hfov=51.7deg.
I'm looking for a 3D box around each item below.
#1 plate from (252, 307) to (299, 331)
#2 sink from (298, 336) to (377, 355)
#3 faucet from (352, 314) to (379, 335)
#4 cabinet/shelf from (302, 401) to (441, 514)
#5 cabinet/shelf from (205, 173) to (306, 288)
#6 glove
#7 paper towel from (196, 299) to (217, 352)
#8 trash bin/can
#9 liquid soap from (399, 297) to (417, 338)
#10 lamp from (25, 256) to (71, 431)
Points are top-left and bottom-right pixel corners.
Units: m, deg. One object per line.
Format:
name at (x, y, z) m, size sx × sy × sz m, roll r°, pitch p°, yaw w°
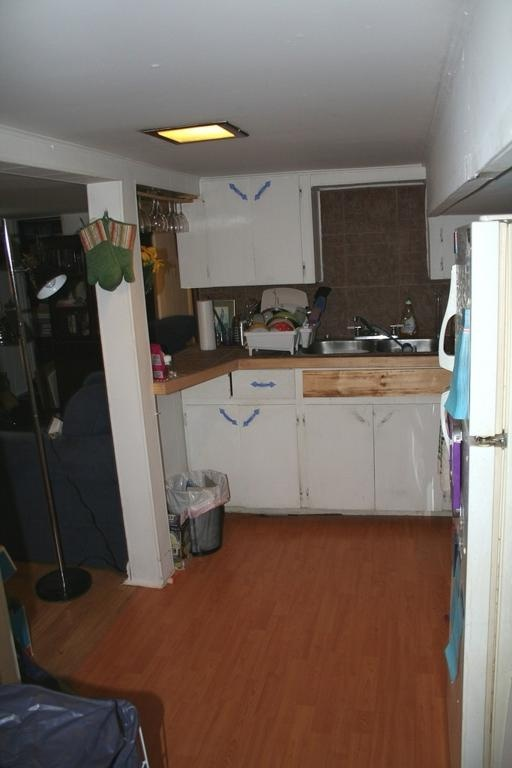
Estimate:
plate at (0.119, -0.447, 3.690) m, size 0.311 × 0.143 × 0.477 m, roll -6°, pitch 11°, yaw 3°
sink at (0.595, -0.269, 3.830) m, size 0.459 × 0.105 × 0.247 m, roll -4°, pitch 11°, yaw 17°
faucet at (0.776, -0.413, 3.787) m, size 0.170 × 0.150 × 0.310 m, roll -4°, pitch 11°, yaw 11°
cabinet/shelf at (0.747, 0.435, 3.331) m, size 0.615 × 0.622 × 0.217 m, roll 0°, pitch 5°, yaw 12°
cabinet/shelf at (0.008, -1.065, 3.561) m, size 0.551 × 0.628 × 0.196 m, roll 1°, pitch 12°, yaw 12°
glove at (-0.671, -0.612, 2.439) m, size 0.250 × 0.348 × 0.187 m, roll -8°, pitch 10°, yaw -12°
paper towel at (-0.368, -0.430, 3.884) m, size 0.130 × 0.362 × 0.265 m, roll -6°, pitch 10°, yaw -5°
trash bin/can at (-0.316, 0.753, 3.174) m, size 0.370 × 0.456 × 0.423 m, roll -1°, pitch 4°, yaw 10°
liquid soap at (1.076, -0.470, 3.789) m, size 0.115 × 0.266 × 0.113 m, roll -3°, pitch 10°, yaw 15°
lamp at (-1.124, -0.193, 2.791) m, size 0.254 × 0.915 × 0.189 m, roll -6°, pitch 15°, yaw -25°
